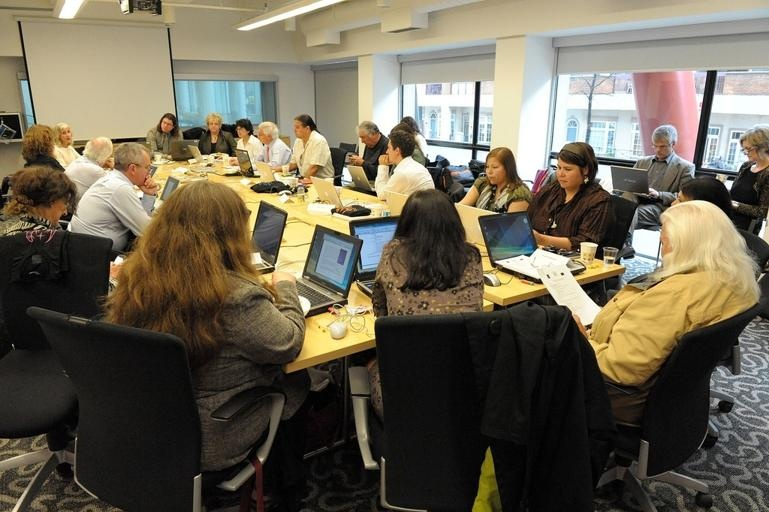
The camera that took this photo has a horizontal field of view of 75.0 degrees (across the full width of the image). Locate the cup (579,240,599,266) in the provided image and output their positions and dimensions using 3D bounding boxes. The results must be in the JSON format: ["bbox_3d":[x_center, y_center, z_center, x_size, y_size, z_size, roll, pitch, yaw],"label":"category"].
[{"bbox_3d":[1.426,-0.019,3.605,0.149,0.155,0.155,1,2,0],"label":"cup"}]

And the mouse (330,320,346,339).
[{"bbox_3d":[-0.252,0.407,2.744,0.096,0.075,0.096,-2,14,-7],"label":"mouse"}]

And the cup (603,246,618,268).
[{"bbox_3d":[1.644,0.006,3.647,0.134,0.135,0.134,2,0,0],"label":"cup"}]

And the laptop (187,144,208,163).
[{"bbox_3d":[-2.854,-1.548,7.780,0.234,0.298,0.306,-19,22,-36],"label":"laptop"}]

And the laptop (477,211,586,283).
[{"bbox_3d":[0.999,-0.176,3.440,0.579,0.355,0.538,-9,17,-37],"label":"laptop"}]

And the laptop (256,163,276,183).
[{"bbox_3d":[-1.427,-0.991,6.007,0.227,0.217,0.309,-15,19,-41],"label":"laptop"}]

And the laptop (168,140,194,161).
[{"bbox_3d":[-3.169,-1.643,7.771,0.391,0.268,0.282,-1,23,-18],"label":"laptop"}]

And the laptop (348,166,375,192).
[{"bbox_3d":[-0.305,-0.920,5.933,0.302,0.302,0.422,-18,23,-36],"label":"laptop"}]

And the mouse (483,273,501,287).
[{"bbox_3d":[0.700,0.162,3.261,0.063,0.035,0.113,-7,10,-23],"label":"mouse"}]

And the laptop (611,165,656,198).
[{"bbox_3d":[2.869,-0.810,5.686,0.331,0.344,0.487,1,5,-31],"label":"laptop"}]

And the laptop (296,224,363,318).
[{"bbox_3d":[-0.345,0.066,3.106,0.514,0.379,0.483,-16,28,-37],"label":"laptop"}]

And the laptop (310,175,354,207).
[{"bbox_3d":[-0.509,-0.631,5.140,0.317,0.311,0.449,-24,27,-35],"label":"laptop"}]

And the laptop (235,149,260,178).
[{"bbox_3d":[-1.776,-1.258,6.758,0.340,0.337,0.469,-11,21,-35],"label":"laptop"}]
